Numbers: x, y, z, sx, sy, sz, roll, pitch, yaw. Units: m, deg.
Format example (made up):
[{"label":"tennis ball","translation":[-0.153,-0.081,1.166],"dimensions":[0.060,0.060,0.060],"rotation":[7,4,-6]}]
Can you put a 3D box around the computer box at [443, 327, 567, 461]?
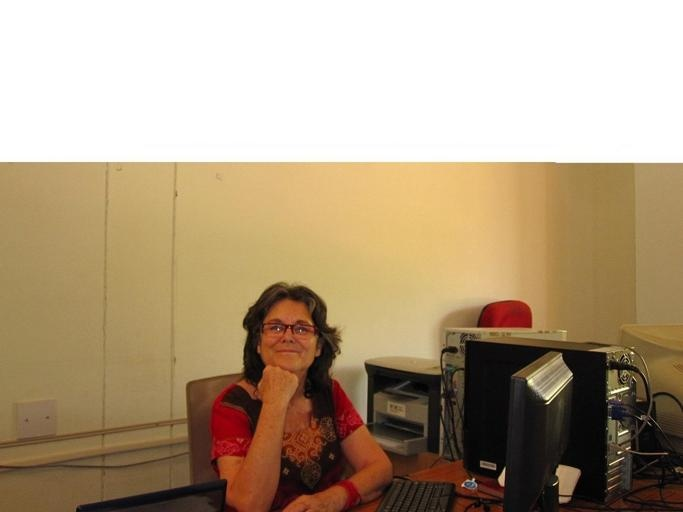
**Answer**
[{"label":"computer box","translation":[0.629,0.542,2.036],"dimensions":[0.470,0.499,0.292],"rotation":[6,-1,-10]}]

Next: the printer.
[{"label":"printer","translation":[0.285,0.629,2.502],"dimensions":[0.329,0.314,0.267],"rotation":[7,-10,-43]}]
